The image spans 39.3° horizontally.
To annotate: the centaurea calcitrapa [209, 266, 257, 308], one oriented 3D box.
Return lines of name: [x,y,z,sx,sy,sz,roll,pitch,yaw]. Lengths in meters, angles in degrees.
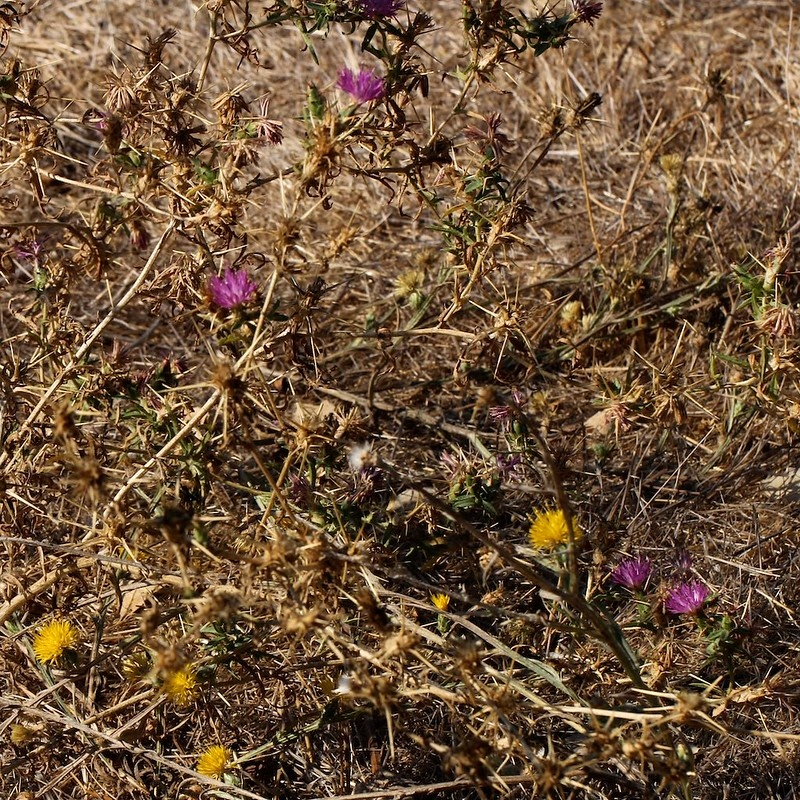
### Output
centaurea calcitrapa: [-0.294,-0.194,1.952,0.080,0.082,0.082,-4,58,-5]

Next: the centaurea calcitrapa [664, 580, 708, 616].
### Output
centaurea calcitrapa: [0.499,0.344,1.966,0.070,0.039,0.067,-20,27,20]

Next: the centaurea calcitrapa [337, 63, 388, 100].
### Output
centaurea calcitrapa: [-0.068,-0.529,1.872,0.076,0.050,0.072,23,26,-22]

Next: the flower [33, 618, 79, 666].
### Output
flower: [-0.618,0.435,2.046,0.084,0.052,0.084,-43,33,0]

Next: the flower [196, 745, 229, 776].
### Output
flower: [-0.327,0.630,1.956,0.057,0.040,0.056,-6,57,-6]
